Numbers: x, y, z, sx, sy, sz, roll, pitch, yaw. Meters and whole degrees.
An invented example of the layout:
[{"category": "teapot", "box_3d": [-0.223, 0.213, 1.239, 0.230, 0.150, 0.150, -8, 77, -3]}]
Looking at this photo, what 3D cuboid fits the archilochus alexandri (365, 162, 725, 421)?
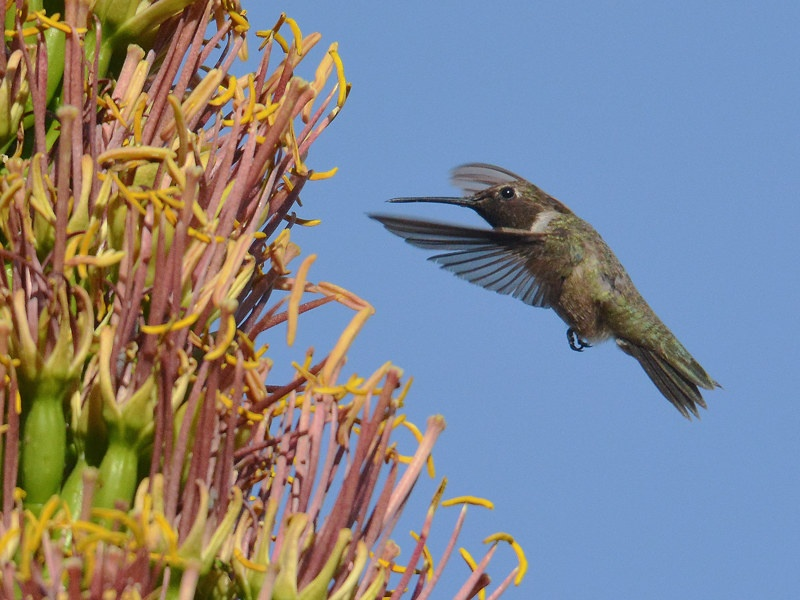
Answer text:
[{"category": "archilochus alexandri", "box_3d": [0.406, -0.064, 4.095, 0.770, 0.733, 0.362, 17, -70, 22]}]
